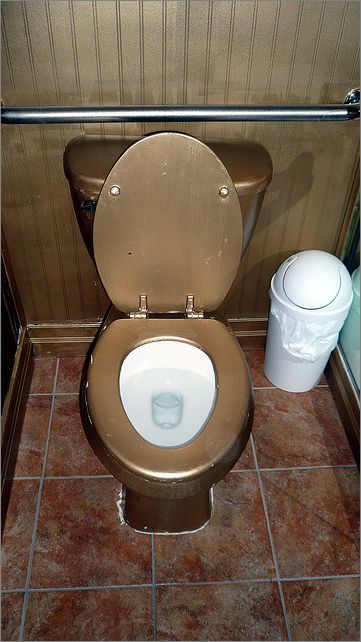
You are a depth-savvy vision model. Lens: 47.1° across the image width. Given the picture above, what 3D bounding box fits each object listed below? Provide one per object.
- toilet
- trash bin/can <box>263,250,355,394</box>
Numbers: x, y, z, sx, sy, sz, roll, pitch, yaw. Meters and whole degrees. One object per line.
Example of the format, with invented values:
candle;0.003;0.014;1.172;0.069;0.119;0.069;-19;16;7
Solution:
toilet;-0.020;0.075;0.920;0.336;0.734;0.648;-2;42;-6
trash bin/can;0.350;0.044;1.235;0.222;0.504;0.169;23;44;23
